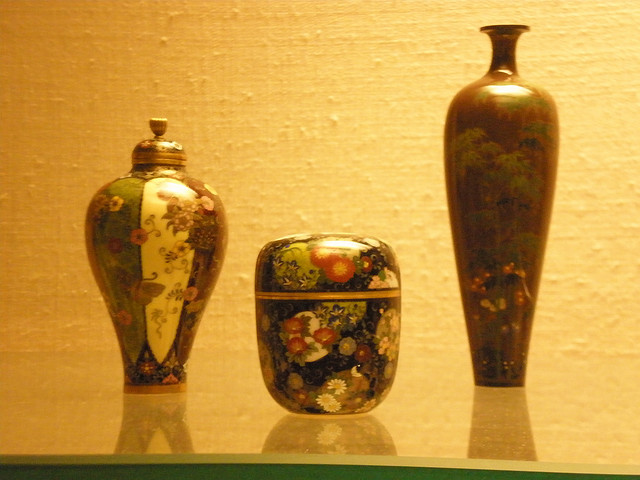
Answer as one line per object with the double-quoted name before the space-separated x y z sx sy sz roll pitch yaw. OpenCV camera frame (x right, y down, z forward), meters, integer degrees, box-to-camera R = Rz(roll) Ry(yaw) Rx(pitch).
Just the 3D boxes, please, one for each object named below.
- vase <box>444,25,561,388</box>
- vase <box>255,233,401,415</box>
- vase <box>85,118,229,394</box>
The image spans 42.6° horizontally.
"vase" 0.254 -0.047 1.157 0.143 0.509 0.159 -4 15 -19
"vase" 0.008 0.109 1.065 0.189 0.232 0.122 0 13 -4
"vase" -0.224 0.035 1.127 0.143 0.346 0.127 -12 19 -42
